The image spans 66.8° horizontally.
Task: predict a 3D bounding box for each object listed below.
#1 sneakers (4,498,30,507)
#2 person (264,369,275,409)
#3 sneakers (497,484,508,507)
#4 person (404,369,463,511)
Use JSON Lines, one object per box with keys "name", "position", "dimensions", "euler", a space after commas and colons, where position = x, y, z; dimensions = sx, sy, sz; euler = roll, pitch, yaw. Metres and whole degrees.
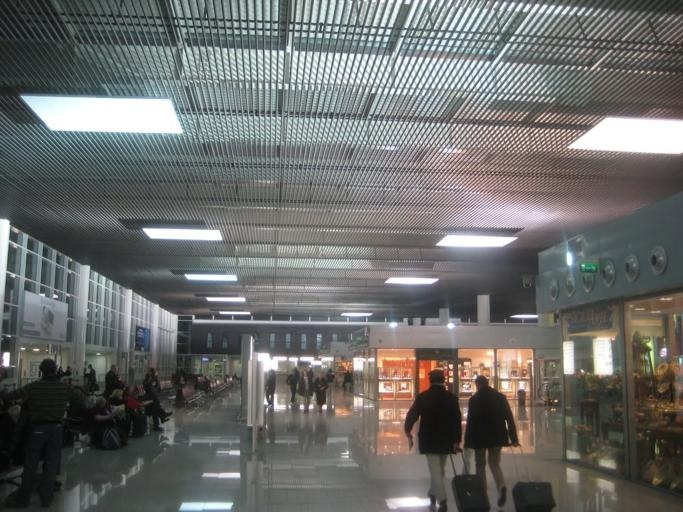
{"name": "sneakers", "position": [-4.212, 3.161, 6.697], "dimensions": [0.280, 0.134, 0.136], "euler": [0, -2, 16]}
{"name": "person", "position": [-3.096, 5.619, 22.041], "dimensions": [0.357, 1.485, 1.571], "euler": [2, -11, -9]}
{"name": "sneakers", "position": [2.081, 3.154, 6.733], "dimensions": [0.107, 0.324, 0.132], "euler": [3, -2, 14]}
{"name": "person", "position": [1.190, 2.391, 6.731], "dimensions": [0.716, 1.808, 0.799], "euler": [-2, -10, 12]}
